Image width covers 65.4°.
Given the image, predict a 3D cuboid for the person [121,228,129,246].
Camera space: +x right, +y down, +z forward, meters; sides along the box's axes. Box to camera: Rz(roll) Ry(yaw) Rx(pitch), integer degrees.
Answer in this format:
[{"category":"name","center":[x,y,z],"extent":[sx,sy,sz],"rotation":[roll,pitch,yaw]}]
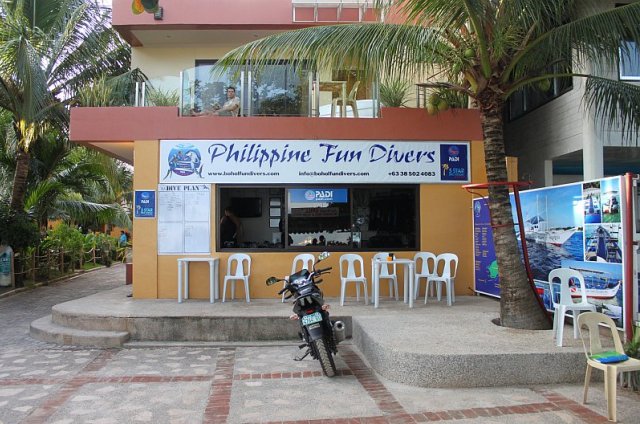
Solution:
[{"category":"person","center":[-11.211,1.506,28.657],"extent":[0.370,0.710,1.304],"rotation":[-7,13,-26]}]

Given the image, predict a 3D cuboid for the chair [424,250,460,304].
[{"category":"chair","center":[2.856,1.455,11.576],"extent":[0.667,1.199,1.717],"rotation":[3,12,17]}]

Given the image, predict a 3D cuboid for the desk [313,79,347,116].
[{"category":"desk","center":[0.225,-2.908,12.191],"extent":[0.845,0.870,0.869],"rotation":[0,0,-16]}]

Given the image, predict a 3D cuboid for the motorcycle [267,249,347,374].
[{"category":"motorcycle","center":[-0.178,1.664,9.070],"extent":[1.059,2.053,2.378],"rotation":[-2,12,-5]}]

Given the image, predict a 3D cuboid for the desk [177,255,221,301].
[{"category":"desk","center":[-2.801,1.505,11.562],"extent":[0.933,0.954,0.971],"rotation":[1,-5,-3]}]

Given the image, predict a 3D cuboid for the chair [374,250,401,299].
[{"category":"chair","center":[1.542,1.323,11.599],"extent":[0.721,1.088,0.632],"rotation":[-7,21,-13]}]

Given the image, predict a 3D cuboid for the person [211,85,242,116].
[{"category":"person","center":[-2.220,-2.678,11.992],"extent":[0.503,0.837,0.738],"rotation":[1,0,28]}]

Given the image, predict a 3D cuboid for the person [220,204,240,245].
[{"category":"person","center":[-2.153,0.305,12.033],"extent":[0.446,0.907,0.266],"rotation":[-3,12,-9]}]
